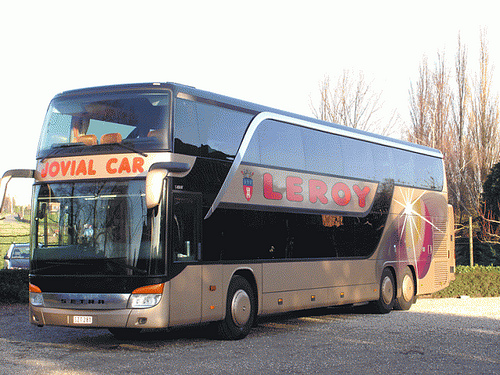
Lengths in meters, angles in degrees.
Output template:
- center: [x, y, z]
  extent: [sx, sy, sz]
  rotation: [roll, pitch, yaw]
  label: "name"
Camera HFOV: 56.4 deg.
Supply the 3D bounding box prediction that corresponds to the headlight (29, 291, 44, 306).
- center: [-4.273, 2.228, 9.323]
  extent: [0.260, 0.195, 0.269]
  rotation: [-4, -7, 43]
  label: "headlight"
